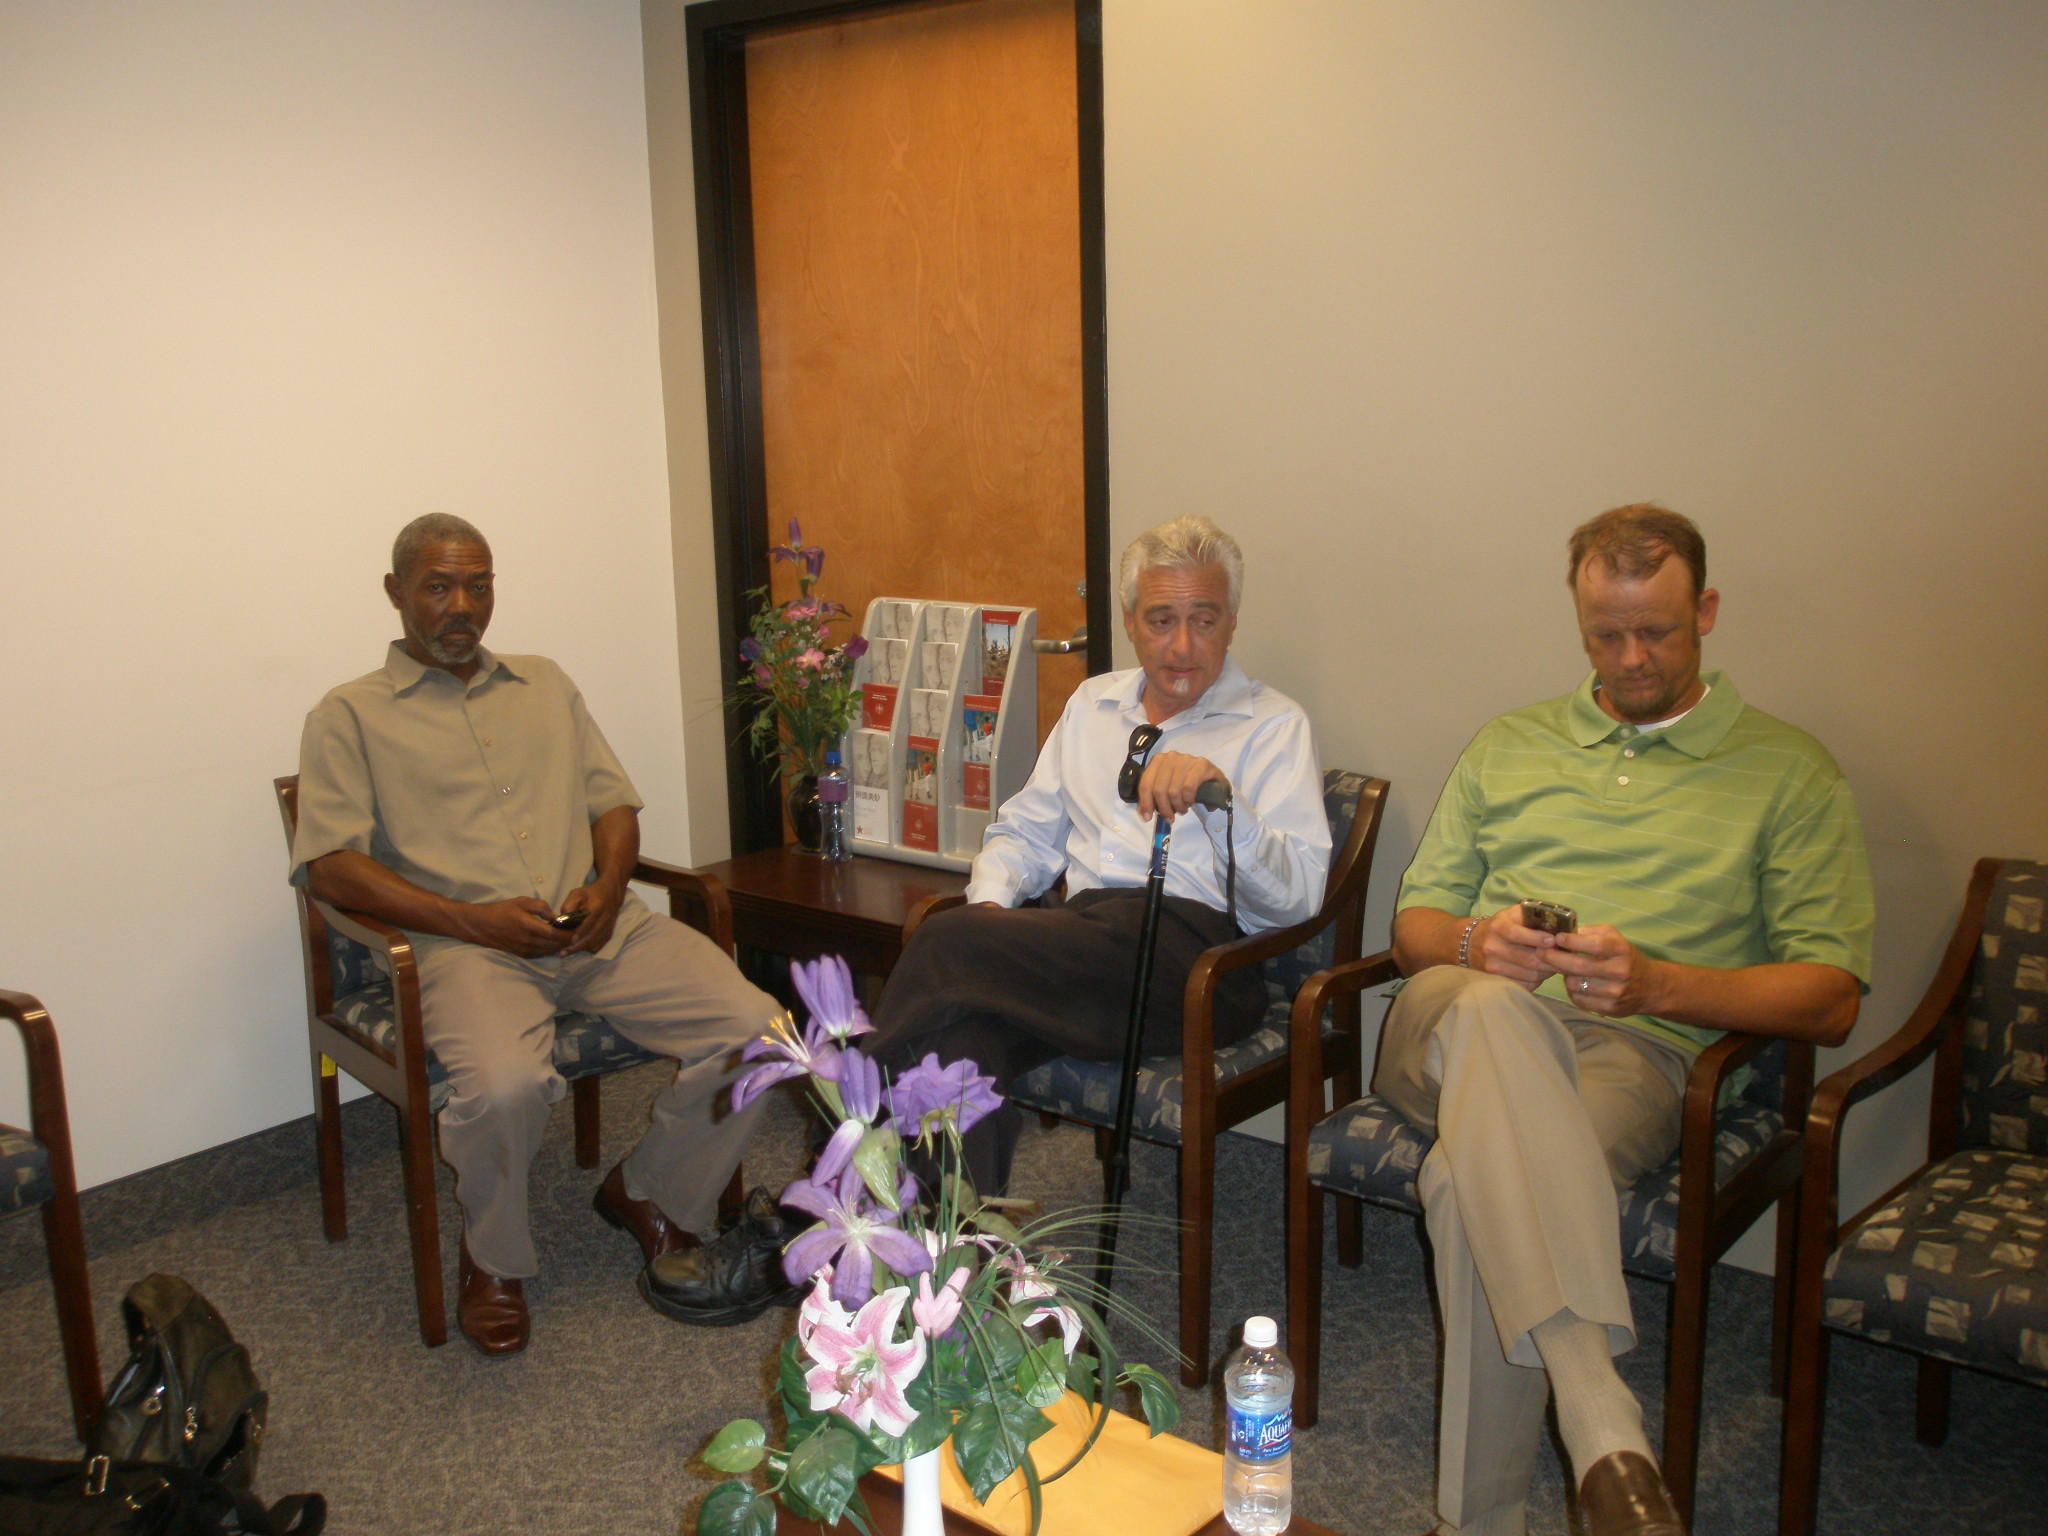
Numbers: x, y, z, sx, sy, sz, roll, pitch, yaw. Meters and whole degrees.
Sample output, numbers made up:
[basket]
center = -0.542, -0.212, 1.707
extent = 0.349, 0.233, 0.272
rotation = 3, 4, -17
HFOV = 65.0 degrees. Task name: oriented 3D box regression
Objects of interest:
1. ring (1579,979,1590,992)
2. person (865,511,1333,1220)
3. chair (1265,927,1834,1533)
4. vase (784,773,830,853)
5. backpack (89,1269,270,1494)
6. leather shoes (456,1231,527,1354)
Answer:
[ring]
center = 0.954, 0.371, 2.718
extent = 0.017, 0.019, 0.006
rotation = -2, -2, 16
[person]
center = 0.133, 0.244, 3.293
extent = 0.777, 1.563, 0.910
rotation = 8, 1, 43
[chair]
center = 0.932, 0.740, 3.146
extent = 0.852, 1.470, 0.931
rotation = 3, 3, 36
[vase]
center = -0.608, 0.124, 4.263
extent = 0.165, 0.210, 0.184
rotation = 0, 2, -10
[backpack]
center = -1.444, 1.064, 2.740
extent = 0.180, 0.351, 0.320
rotation = -2, -17, 21
[leather shoes]
center = -1.067, 1.093, 3.311
extent = 0.092, 0.164, 0.244
rotation = -1, 8, -33
